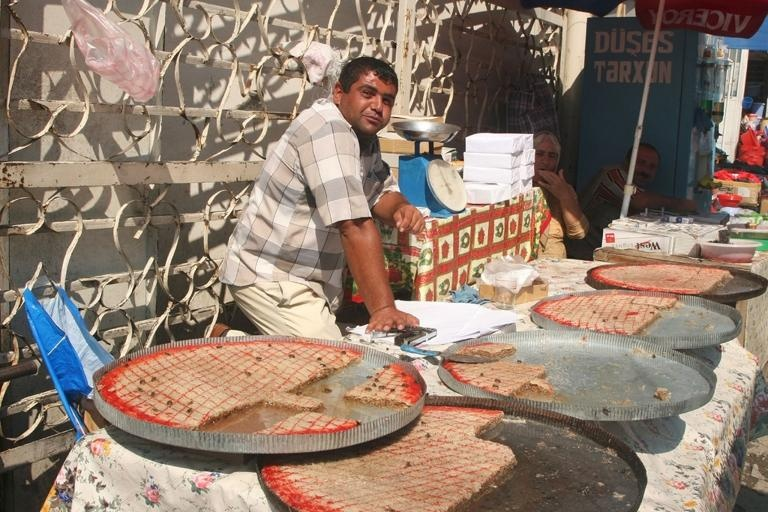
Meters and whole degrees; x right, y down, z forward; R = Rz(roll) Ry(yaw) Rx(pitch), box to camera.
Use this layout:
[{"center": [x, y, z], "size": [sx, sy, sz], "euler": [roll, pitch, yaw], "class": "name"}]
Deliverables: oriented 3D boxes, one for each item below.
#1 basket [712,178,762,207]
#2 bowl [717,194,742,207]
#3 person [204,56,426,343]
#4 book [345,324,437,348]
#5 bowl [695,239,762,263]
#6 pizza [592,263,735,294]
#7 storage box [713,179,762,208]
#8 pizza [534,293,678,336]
[{"center": [4.902, -0.862, 8.872], "size": [0.527, 0.221, 0.539], "euler": [6, 11, 40], "class": "basket"}, {"center": [4.519, -0.725, 8.400], "size": [0.308, 0.124, 0.301], "euler": [0, 2, 0], "class": "bowl"}, {"center": [-0.259, -0.274, 3.417], "size": [1.251, 1.516, 0.804], "euler": [10, 16, 40], "class": "person"}, {"center": [0.064, 0.352, 2.833], "size": [0.168, 0.044, 0.166], "euler": [4, 8, 30], "class": "book"}, {"center": [2.231, -0.027, 4.103], "size": [0.245, 0.088, 0.238], "euler": [-6, 2, 0], "class": "bowl"}, {"center": [1.512, 0.108, 3.540], "size": [0.653, 0.043, 0.710], "euler": [9, 14, 40], "class": "pizza"}, {"center": [4.903, -0.852, 8.866], "size": [0.541, 0.222, 0.521], "euler": [-9, 12, -44], "class": "storage box"}, {"center": [1.032, 0.256, 2.984], "size": [0.710, 0.167, 0.477], "euler": [0, -3, -42], "class": "pizza"}]
